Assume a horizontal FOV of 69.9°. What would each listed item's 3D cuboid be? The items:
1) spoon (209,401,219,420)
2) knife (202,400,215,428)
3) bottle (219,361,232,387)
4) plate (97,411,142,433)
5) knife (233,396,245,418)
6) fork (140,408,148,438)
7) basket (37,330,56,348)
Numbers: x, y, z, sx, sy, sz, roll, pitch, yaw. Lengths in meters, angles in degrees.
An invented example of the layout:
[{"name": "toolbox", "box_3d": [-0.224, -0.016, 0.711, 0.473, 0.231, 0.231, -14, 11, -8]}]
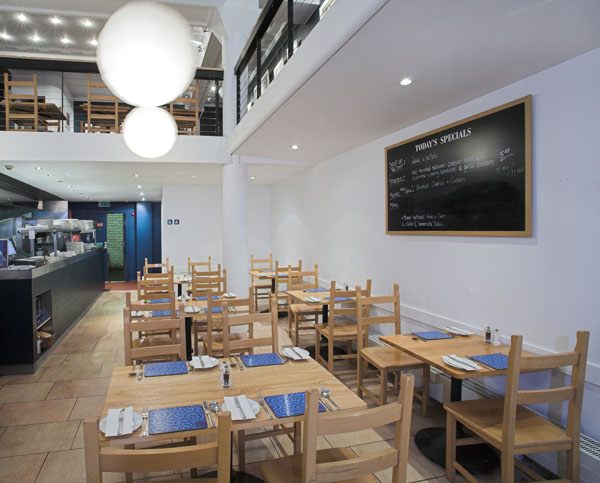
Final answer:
[{"name": "spoon", "box_3d": [-0.460, 0.898, 2.316, 0.057, 0.036, 0.245, 1, 7, -13]}, {"name": "knife", "box_3d": [-0.481, 0.925, 2.284, 0.036, 0.030, 0.307, -1, 2, -16]}, {"name": "bottle", "box_3d": [-0.457, 0.814, 2.648, 0.050, 0.082, 0.167, 0, 7, -9]}, {"name": "plate", "box_3d": [-0.915, 0.921, 2.198, 0.200, 0.074, 0.229, -1, 2, -23]}, {"name": "knife", "box_3d": [-0.327, 0.902, 2.326, 0.027, 0.010, 0.201, -1, 9, -11]}, {"name": "fork", "box_3d": [-0.798, 0.943, 2.205, 0.033, 0.029, 0.243, 4, 15, -19]}, {"name": "basket", "box_3d": [-3.148, 1.199, 5.303, 0.205, 0.153, 0.170, 2, 0, -34]}]
